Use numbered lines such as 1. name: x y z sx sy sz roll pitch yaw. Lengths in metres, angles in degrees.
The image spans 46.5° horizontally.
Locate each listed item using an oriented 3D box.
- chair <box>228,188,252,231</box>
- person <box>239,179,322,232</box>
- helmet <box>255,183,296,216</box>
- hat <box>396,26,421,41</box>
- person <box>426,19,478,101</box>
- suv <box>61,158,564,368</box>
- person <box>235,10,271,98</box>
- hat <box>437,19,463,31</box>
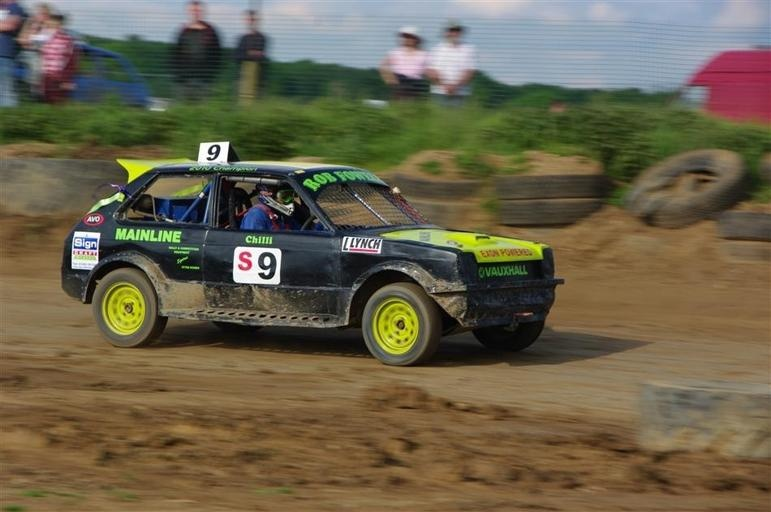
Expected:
1. chair: -1.633 -0.548 10.037 0.228 0.380 0.390 4 5 25
2. person: -1.122 -0.508 9.854 1.147 0.397 0.556 9 8 19
3. helmet: -1.193 -0.612 9.727 0.583 0.278 0.330 5 11 6
4. hat: 0.390 -3.567 14.372 0.105 0.224 0.474 -7 14 -38
5. person: 1.068 -3.030 14.197 0.773 1.269 0.258 6 16 1
6. suv: -0.947 0.067 9.686 5.088 2.060 1.167 5 14 15
7. person: -2.389 -3.347 15.239 0.641 1.574 0.556 -10 22 -32
8. hat: 1.063 -3.578 13.981 0.319 0.175 0.056 3 16 0
